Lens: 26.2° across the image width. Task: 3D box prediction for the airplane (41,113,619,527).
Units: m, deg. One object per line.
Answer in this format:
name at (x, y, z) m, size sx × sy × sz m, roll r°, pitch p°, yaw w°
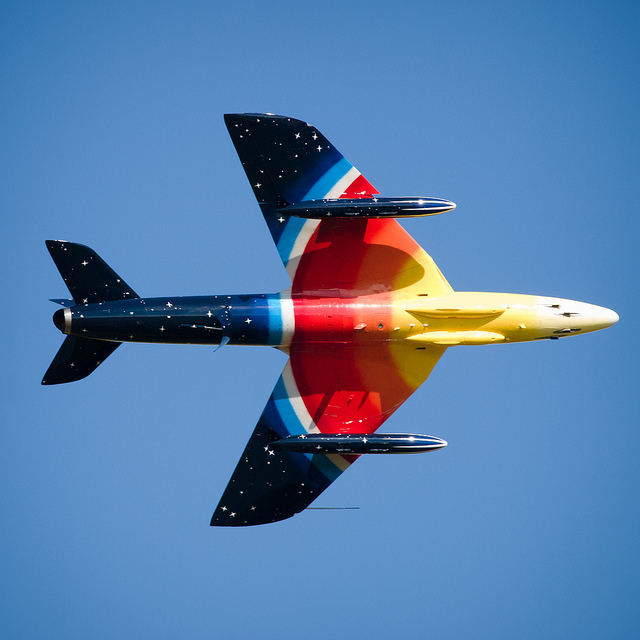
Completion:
airplane at (0.698, 0.028, 18.622) m, size 9.089 × 2.077 × 5.096 m, roll 2°, pitch -90°, yaw -34°
